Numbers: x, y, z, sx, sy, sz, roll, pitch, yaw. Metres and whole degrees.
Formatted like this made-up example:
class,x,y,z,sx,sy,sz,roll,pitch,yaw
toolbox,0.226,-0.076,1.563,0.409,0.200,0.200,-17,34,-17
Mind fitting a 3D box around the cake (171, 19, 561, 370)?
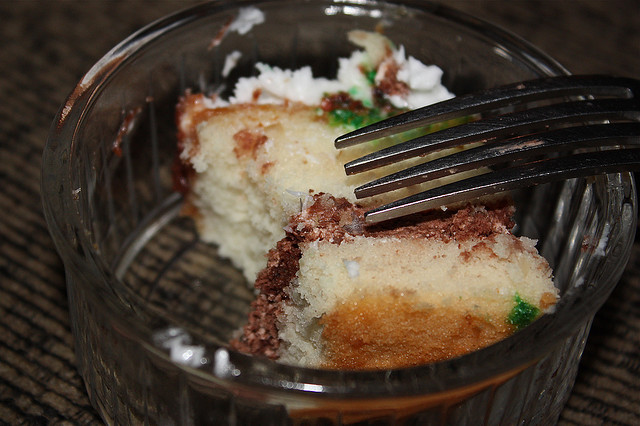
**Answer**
class,x,y,z,sx,sy,sz,roll,pitch,yaw
cake,0.064,0.034,1.473,0.633,0.226,0.493,2,56,-2
